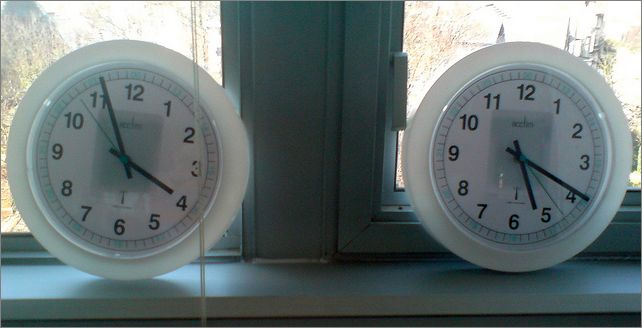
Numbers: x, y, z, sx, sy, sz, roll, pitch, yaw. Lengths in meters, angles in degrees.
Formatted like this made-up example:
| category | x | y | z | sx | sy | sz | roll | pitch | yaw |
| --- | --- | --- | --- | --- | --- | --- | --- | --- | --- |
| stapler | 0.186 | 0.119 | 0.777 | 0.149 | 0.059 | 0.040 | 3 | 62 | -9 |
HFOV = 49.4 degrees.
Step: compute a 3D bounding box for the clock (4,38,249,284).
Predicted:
| category | x | y | z | sx | sy | sz | roll | pitch | yaw |
| --- | --- | --- | --- | --- | --- | --- | --- | --- | --- |
| clock | -0.665 | -0.020 | 2.355 | 1.020 | 0.839 | 0.094 | -1 | -2 | -5 |
